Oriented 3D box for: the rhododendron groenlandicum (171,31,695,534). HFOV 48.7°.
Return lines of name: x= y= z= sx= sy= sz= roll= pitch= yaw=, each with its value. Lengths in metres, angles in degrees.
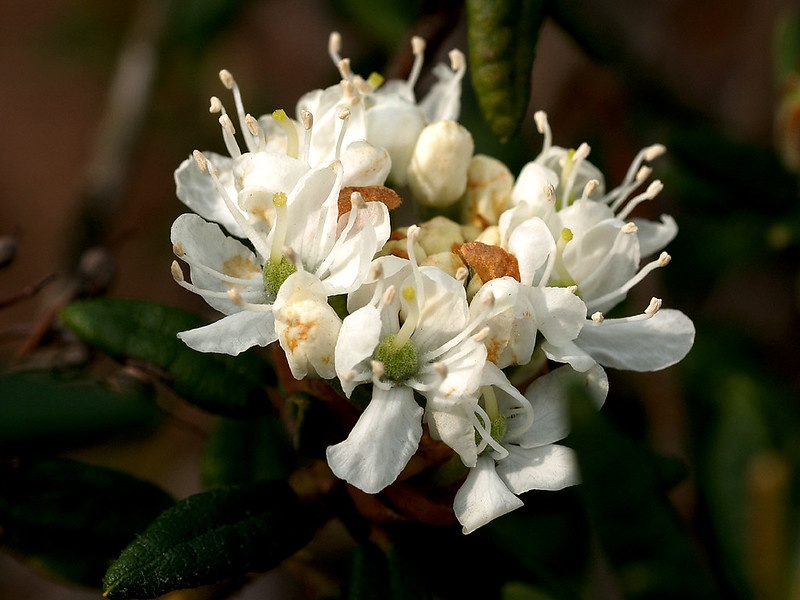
rhododendron groenlandicum: x=0.047 y=-0.086 z=1.772 sx=1.044 sy=0.520 sz=0.928 roll=18 pitch=54 yaw=23
